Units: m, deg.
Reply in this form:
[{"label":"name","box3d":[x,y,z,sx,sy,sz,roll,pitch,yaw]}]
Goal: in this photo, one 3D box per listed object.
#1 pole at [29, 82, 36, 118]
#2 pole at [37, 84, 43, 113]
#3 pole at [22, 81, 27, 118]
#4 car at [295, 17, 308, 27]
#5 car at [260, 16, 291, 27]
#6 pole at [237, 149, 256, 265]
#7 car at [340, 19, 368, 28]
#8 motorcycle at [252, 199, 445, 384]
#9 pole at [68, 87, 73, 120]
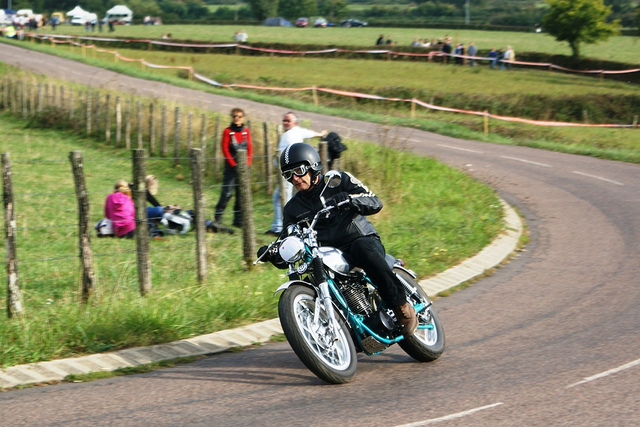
[{"label":"pole","box3d":[-12.707,-4.970,34.228,0.230,1.463,0.698,-3,19,-19]},{"label":"pole","box3d":[-12.268,-5.025,33.902,0.203,1.176,0.693,-3,18,-17]},{"label":"pole","box3d":[-13.248,-5.085,34.743,0.267,1.573,0.702,-4,20,-20]},{"label":"car","box3d":[-2.535,-26.383,106.963,1.551,1.441,4.987,2,11,-2]},{"label":"car","box3d":[-6.904,-27.898,111.435,5.079,0.723,2.661,2,5,13]},{"label":"pole","box3d":[-1.453,-0.137,15.323,0.379,2.246,0.601,0,20,-12]},{"label":"car","box3d":[4.468,-25.933,105.527,4.904,0.912,1.717,1,21,15]},{"label":"motorcycle","box3d":[0.495,1.112,11.157,2.359,2.657,1.163,-4,20,-22]},{"label":"pole","box3d":[-10.408,-4.586,32.299,0.200,1.281,0.772,-3,19,-19]}]
